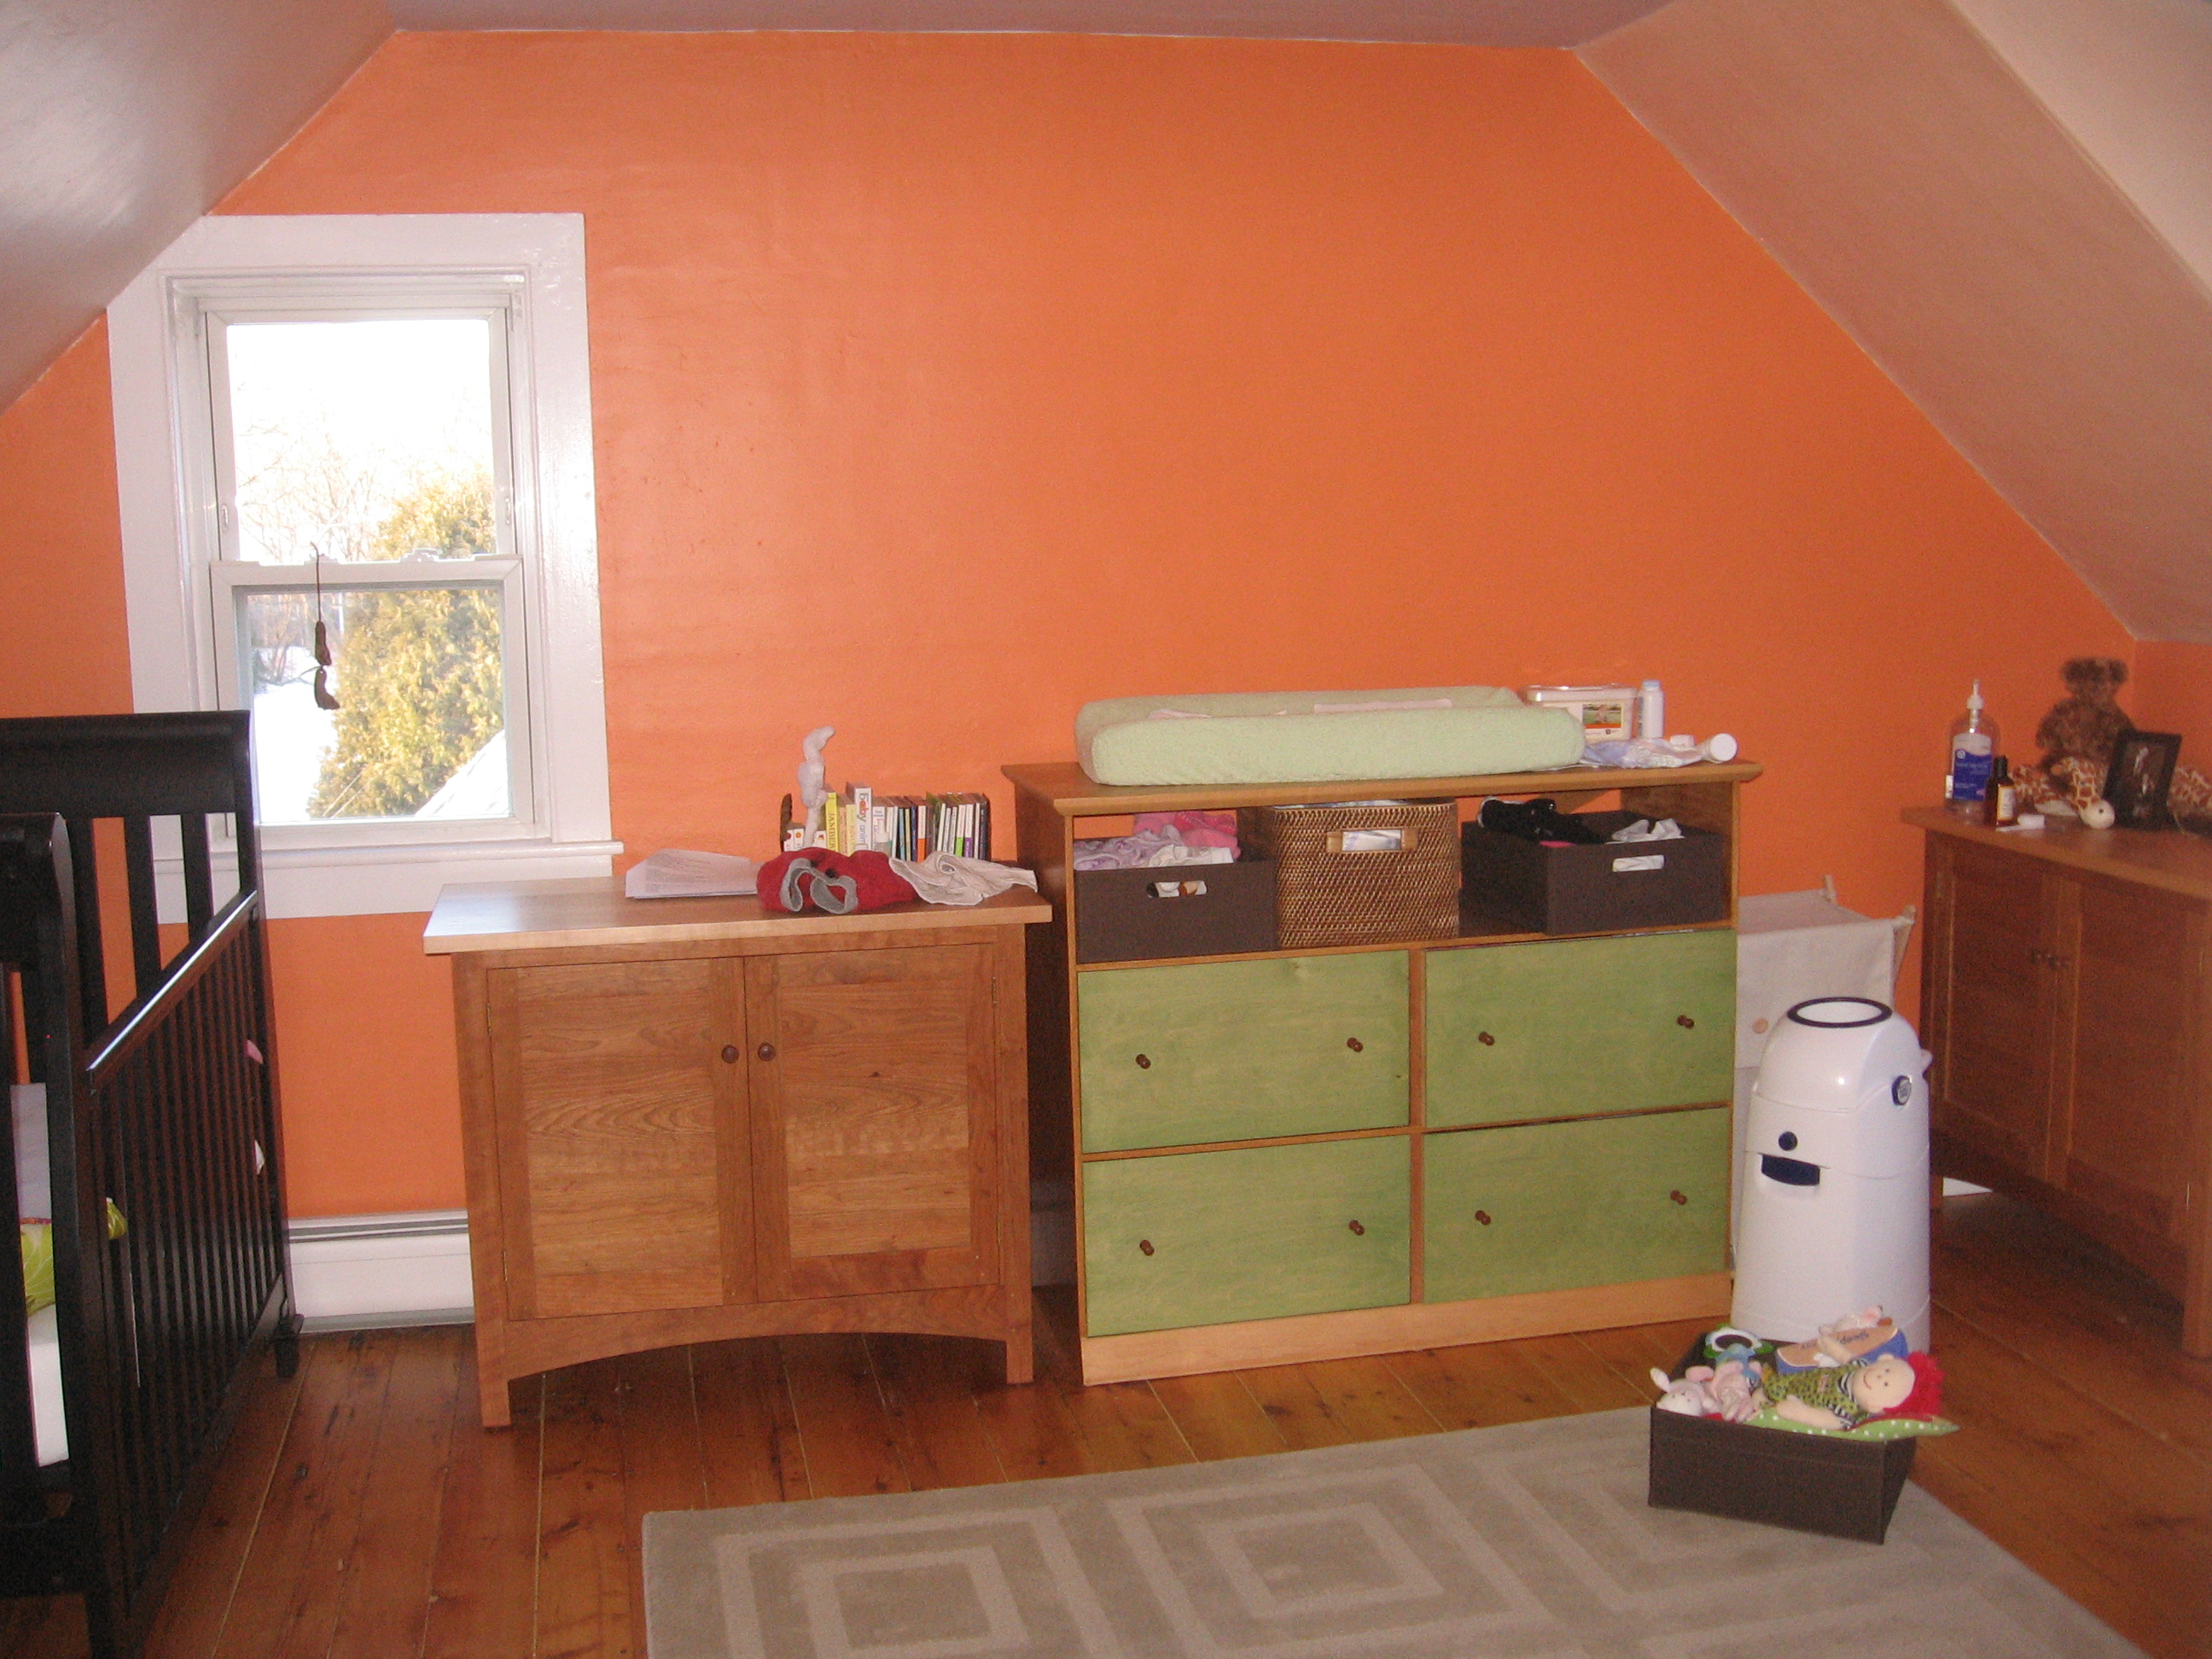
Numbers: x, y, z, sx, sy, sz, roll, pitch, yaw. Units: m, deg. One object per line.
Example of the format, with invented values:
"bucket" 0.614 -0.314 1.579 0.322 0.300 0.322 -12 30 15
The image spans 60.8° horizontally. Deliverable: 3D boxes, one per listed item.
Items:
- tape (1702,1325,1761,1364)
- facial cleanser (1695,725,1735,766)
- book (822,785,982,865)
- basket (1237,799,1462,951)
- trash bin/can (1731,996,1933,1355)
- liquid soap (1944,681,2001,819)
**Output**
"tape" 1.136 0.935 3.431 0.065 0.030 0.072 1 5 -2
"facial cleanser" 1.305 -0.171 3.941 0.099 0.079 0.115 5 5 4
"book" -0.412 -0.004 3.927 0.395 0.141 0.174 1 1 -11
"basket" 0.502 0.080 3.789 0.365 0.190 0.335 -2 2 -32
"trash bin/can" 1.379 0.671 3.597 0.343 0.612 0.212 0 9 14
"liquid soap" 2.052 -0.194 4.450 0.119 0.292 0.387 1 8 24
